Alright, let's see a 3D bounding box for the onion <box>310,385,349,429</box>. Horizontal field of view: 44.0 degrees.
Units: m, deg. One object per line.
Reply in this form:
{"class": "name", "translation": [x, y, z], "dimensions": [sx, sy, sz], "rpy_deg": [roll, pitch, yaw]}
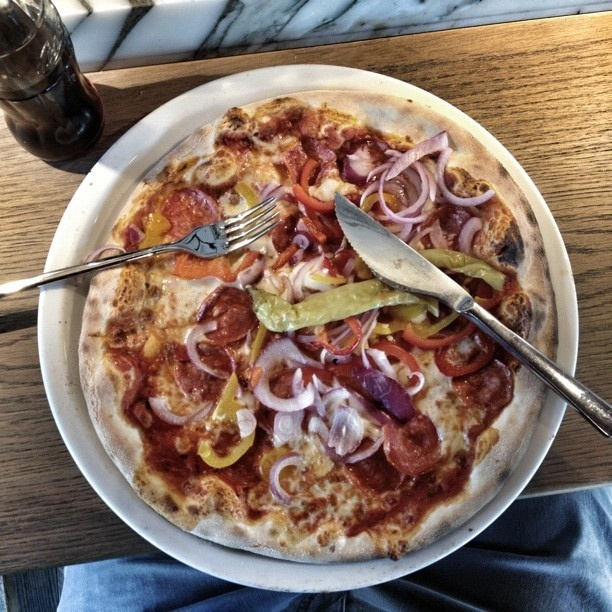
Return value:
{"class": "onion", "translation": [0.069, 0.346, 2.507], "dimensions": [0.124, 0.039, 0.142], "rpy_deg": [37, 73, -9]}

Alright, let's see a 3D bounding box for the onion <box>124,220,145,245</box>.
{"class": "onion", "translation": [-0.593, -0.246, 2.587], "dimensions": [0.081, 0.021, 0.059], "rpy_deg": [-2, 91, -3]}

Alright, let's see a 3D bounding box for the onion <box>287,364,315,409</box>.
{"class": "onion", "translation": [-0.005, 0.282, 2.509], "dimensions": [0.111, 0.037, 0.113], "rpy_deg": [6, 83, 19]}

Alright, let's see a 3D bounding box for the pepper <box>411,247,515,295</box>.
{"class": "pepper", "translation": [0.511, -0.146, 2.541], "dimensions": [0.356, 0.089, 0.062], "rpy_deg": [-4, 67, -36]}

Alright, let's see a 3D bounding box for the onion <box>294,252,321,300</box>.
{"class": "onion", "translation": [0.002, -0.095, 2.541], "dimensions": [0.060, 0.127, 0.127], "rpy_deg": [25, 63, -31]}

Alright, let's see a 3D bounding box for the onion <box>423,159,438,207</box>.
{"class": "onion", "translation": [0.420, -0.422, 2.576], "dimensions": [0.040, 0.041, 0.142], "rpy_deg": [-7, 90, 3]}

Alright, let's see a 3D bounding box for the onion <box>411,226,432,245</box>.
{"class": "onion", "translation": [0.394, -0.236, 2.567], "dimensions": [0.073, 0.019, 0.061], "rpy_deg": [1, 112, -15]}

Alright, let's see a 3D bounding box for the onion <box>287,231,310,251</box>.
{"class": "onion", "translation": [-0.022, -0.219, 2.578], "dimensions": [0.073, 0.021, 0.051], "rpy_deg": [16, 102, 26]}

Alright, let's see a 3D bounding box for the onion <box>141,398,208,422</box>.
{"class": "onion", "translation": [-0.429, 0.361, 2.557], "dimensions": [0.212, 0.044, 0.088], "rpy_deg": [8, 82, 4]}
